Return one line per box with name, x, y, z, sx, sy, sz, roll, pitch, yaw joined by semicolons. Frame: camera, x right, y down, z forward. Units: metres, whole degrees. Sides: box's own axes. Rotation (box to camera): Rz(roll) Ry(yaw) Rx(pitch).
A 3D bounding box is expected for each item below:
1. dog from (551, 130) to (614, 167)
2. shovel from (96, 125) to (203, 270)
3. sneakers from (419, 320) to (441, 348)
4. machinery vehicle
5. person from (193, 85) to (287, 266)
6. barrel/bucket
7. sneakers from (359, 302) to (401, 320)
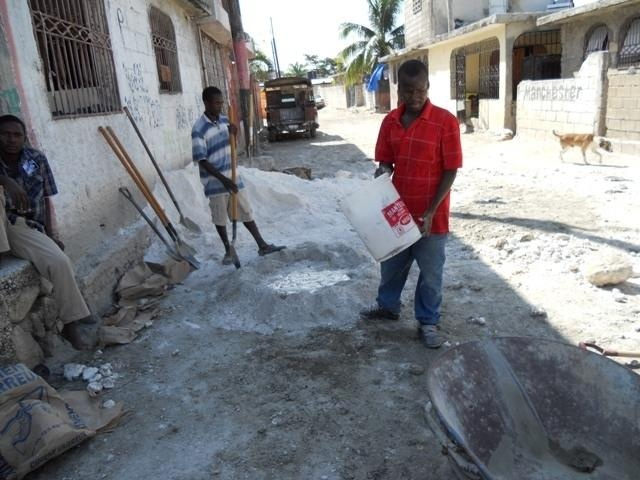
dog;5.373;-1.922;9.548;0.338;0.653;1.183;-8;19;-42
shovel;-1.976;-0.518;5.364;1.150;1.621;0.554;9;23;32
sneakers;0.893;0.765;3.729;0.099;0.102;0.227;-6;6;-3
machinery vehicle;-1.366;-5.615;20.015;2.325;2.481;4.033;-9;16;-9
person;-1.045;-0.713;5.296;0.724;1.960;0.601;-10;20;-15
barrel/bucket;0.420;-0.140;3.677;0.611;0.677;0.565;-29;-5;-3
sneakers;0.536;0.654;4.058;0.313;0.169;0.132;8;17;6
